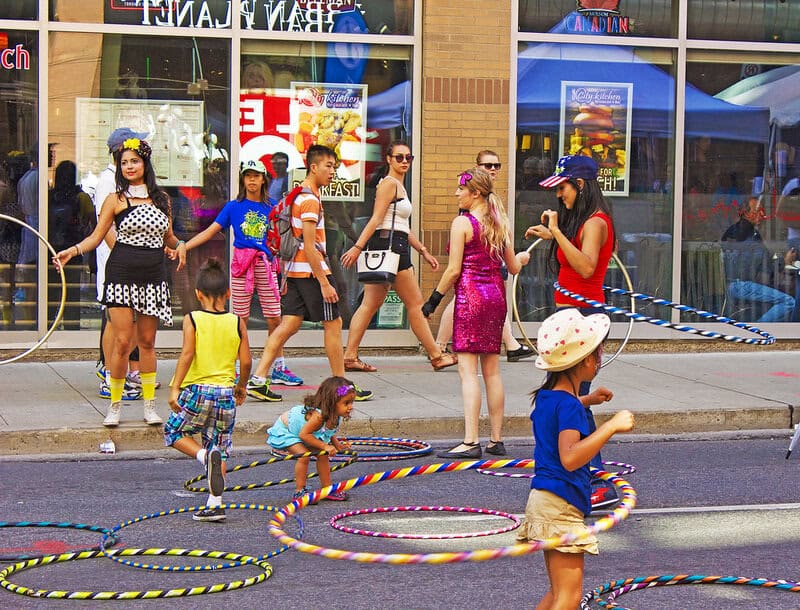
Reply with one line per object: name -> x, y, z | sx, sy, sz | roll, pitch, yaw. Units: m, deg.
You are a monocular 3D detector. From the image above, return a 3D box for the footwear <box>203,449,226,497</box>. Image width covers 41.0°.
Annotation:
footwear -> -1.287, 1.142, 7.445 | 0.123, 0.328, 0.129 | -6, -2, -24

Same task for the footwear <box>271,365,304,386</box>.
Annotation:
footwear -> -1.234, 0.757, 11.577 | 0.361, 0.174, 0.154 | 4, 4, -7

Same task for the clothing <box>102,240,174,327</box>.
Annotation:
clothing -> -2.400, -0.229, 9.472 | 0.559, 0.678, 0.356 | -2, 1, -43

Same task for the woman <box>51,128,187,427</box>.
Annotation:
woman -> -2.489, -0.203, 9.333 | 1.183, 2.456, 0.743 | 0, 0, -30

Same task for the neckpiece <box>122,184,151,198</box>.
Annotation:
neckpiece -> -2.307, -0.983, 9.301 | 0.191, 0.121, 0.035 | 1, 5, -13

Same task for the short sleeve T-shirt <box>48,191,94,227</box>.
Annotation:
short sleeve T-shirt -> -3.968, -1.161, 12.795 | 0.453, 0.483, 0.264 | 0, 12, 1

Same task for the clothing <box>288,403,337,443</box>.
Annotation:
clothing -> -0.671, 0.852, 7.902 | 0.340, 0.241, 0.240 | 17, 9, 20

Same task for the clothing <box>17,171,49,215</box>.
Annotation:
clothing -> -4.462, -1.334, 12.761 | 0.255, 0.545, 0.050 | 2, 4, -4

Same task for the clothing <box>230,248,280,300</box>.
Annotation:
clothing -> -1.544, -0.405, 11.318 | 0.525, 0.365, 0.681 | 11, 10, 1

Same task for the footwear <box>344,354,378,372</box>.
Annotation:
footwear -> -0.462, 0.673, 12.395 | 0.389, 0.157, 0.152 | -1, 5, -12

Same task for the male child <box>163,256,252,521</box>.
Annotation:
male child -> -1.402, 0.607, 7.740 | 0.666, 1.877, 0.716 | 1, -2, -37

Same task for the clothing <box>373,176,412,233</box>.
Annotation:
clothing -> -0.144, -1.105, 11.749 | 0.493, 0.843, 0.634 | 2, 5, 7

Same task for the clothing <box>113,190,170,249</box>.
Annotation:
clothing -> -2.258, -0.753, 9.444 | 0.534, 0.481, 0.303 | -8, 8, -16

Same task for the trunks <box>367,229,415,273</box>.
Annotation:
trunks -> -0.048, -0.607, 11.719 | 0.489, 0.481, 0.348 | -2, -2, 22

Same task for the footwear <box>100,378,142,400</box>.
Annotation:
footwear -> -2.768, 0.843, 10.711 | 0.545, 0.248, 0.194 | 1, 9, -2

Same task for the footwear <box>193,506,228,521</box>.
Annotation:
footwear -> -1.336, 1.457, 7.487 | 0.234, 0.106, 0.092 | 3, 6, 1

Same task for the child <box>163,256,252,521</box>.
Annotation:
child -> -1.396, 0.594, 7.696 | 0.649, 1.893, 0.683 | 1, -1, -15

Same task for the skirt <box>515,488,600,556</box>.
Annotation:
skirt -> 0.814, 1.094, 5.478 | 0.301, 0.378, 0.451 | 8, -19, -5

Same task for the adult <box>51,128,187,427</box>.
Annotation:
adult -> -2.499, -0.217, 9.341 | 1.186, 2.465, 0.784 | 1, -5, -17

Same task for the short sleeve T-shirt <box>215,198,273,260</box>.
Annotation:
short sleeve T-shirt -> -1.557, -0.816, 11.313 | 0.861, 0.621, 0.288 | -1, 16, -10

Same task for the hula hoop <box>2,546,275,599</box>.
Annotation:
hula hoop -> -1.606, 1.586, 6.415 | 1.600, 0.144, 0.871 | 2, 5, 5

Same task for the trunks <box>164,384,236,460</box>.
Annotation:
trunks -> -1.434, 0.817, 7.776 | 0.492, 0.592, 0.311 | 10, 9, -17

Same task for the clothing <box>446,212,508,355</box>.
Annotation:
clothing -> 0.679, -0.181, 9.095 | 0.434, 1.176, 0.251 | 2, 4, 0

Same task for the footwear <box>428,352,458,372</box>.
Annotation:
footwear -> 0.470, 0.637, 11.768 | 0.314, 0.121, 0.166 | -11, 14, -13

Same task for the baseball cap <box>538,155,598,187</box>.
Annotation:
baseball cap -> 1.259, -0.981, 7.940 | 0.378, 0.182, 0.230 | -4, 8, 5

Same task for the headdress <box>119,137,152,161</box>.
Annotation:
headdress -> -2.302, -1.342, 9.247 | 0.254, 0.180, 0.330 | 1, 5, -15
